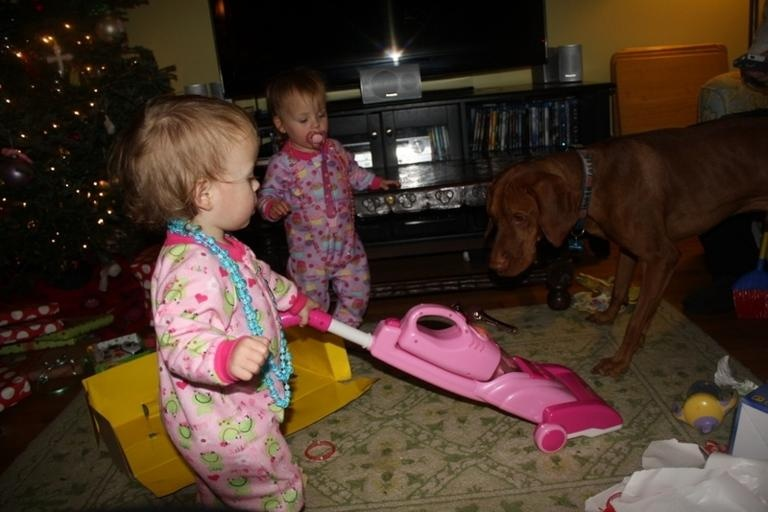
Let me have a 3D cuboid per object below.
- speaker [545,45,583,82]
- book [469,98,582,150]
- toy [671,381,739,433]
[{"bbox_3d":[1.264,-1.351,3.930,0.284,0.279,0.217,5,15,35],"label":"speaker"},{"bbox_3d":[0.976,-0.913,3.908,0.868,0.355,0.317,-1,-1,7],"label":"book"},{"bbox_3d":[1.316,0.589,2.310,0.172,0.100,0.221,-12,13,26],"label":"toy"}]
